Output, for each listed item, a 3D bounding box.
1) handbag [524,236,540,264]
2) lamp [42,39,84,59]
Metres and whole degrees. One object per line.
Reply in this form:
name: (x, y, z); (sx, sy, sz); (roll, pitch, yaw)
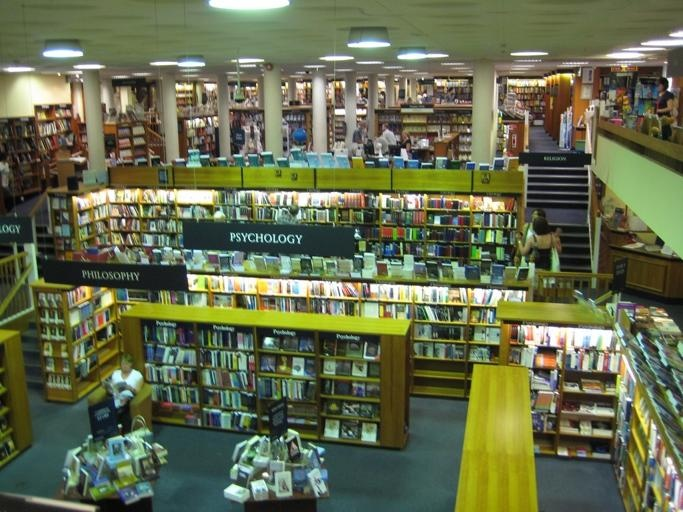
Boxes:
handbag: (3.598, -0.140, 11.298); (0.140, 0.460, 0.305); (-4, -3, 0)
lamp: (-4.133, -2.998, 8.593); (0.489, 0.222, 0.524); (-6, 12, -23)
